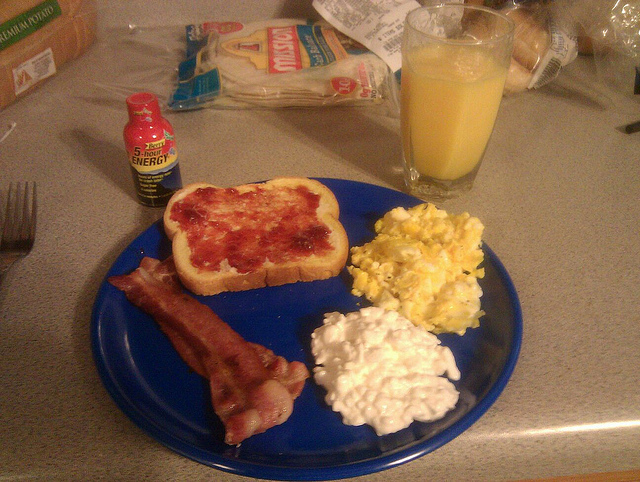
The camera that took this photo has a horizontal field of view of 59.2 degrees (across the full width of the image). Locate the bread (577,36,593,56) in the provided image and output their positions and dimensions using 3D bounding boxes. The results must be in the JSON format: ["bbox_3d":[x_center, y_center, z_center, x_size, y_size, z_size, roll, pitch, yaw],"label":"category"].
[{"bbox_3d":[0.966,-0.715,2.076,0.062,0.055,0.058,-10,50,10],"label":"bread"}]
